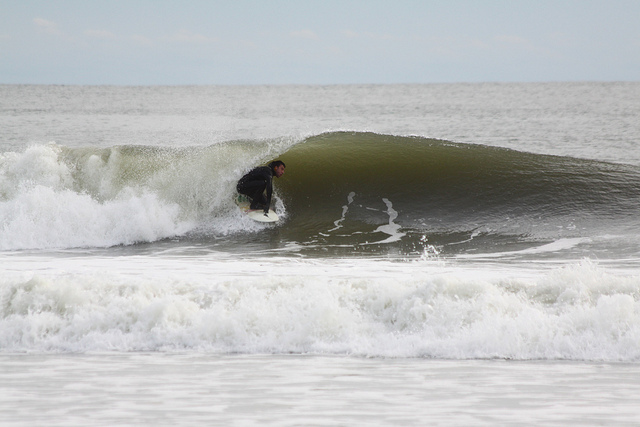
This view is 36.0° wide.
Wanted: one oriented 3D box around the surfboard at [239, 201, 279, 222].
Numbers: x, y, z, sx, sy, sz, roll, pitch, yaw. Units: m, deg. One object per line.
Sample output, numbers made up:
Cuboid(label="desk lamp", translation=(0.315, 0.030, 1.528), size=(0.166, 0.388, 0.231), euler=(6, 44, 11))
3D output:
Cuboid(label="surfboard", translation=(-1.366, 0.021, 22.329), size=(1.196, 0.150, 0.315), euler=(19, 54, 23))

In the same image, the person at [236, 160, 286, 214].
Cuboid(label="person", translation=(-1.338, -0.608, 22.139), size=(0.524, 1.219, 1.184), euler=(-14, 18, -43))

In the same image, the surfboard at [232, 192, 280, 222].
Cuboid(label="surfboard", translation=(-1.414, -0.001, 22.243), size=(0.411, 1.243, 0.496), euler=(-39, 38, 12))
